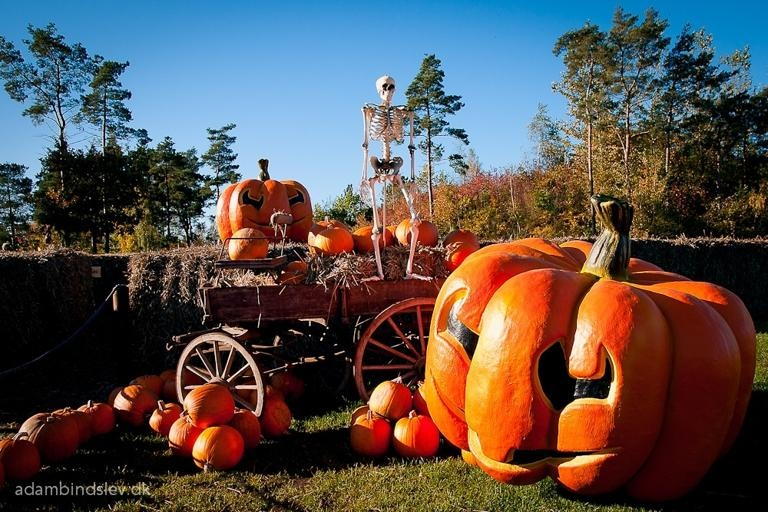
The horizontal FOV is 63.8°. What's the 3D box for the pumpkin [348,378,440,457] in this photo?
[{"bbox_3d":[0.101,1.975,7.469,0.883,0.636,0.753,2,-8,-14],"label":"pumpkin"}]
